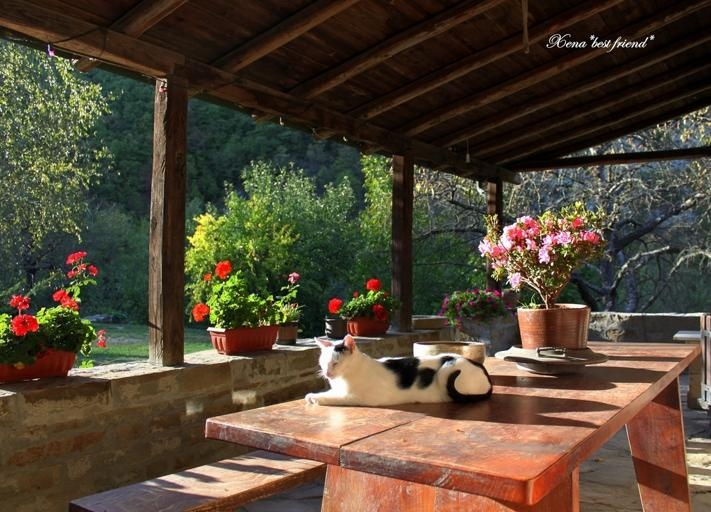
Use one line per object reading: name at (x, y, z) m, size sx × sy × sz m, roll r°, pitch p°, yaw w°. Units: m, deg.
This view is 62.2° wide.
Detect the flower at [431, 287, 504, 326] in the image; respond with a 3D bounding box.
flower at (1.705, 0.680, 8.351) m, size 0.592 × 0.406 × 0.644 m, roll 1°, pitch -4°, yaw 16°

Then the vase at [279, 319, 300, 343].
vase at (-0.658, 0.738, 5.760) m, size 0.177 × 0.135 × 0.182 m, roll 0°, pitch -11°, yaw 2°

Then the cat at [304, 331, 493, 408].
cat at (0.189, 0.548, 2.663) m, size 0.734 × 0.316 × 0.367 m, roll -1°, pitch -17°, yaw -1°

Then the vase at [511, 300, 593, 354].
vase at (1.038, 0.361, 3.057) m, size 0.263 × 0.172 × 0.272 m, roll 2°, pitch -2°, yaw -18°

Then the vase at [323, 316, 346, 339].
vase at (-0.201, 0.740, 6.204) m, size 0.176 × 0.163 × 0.229 m, roll -1°, pitch -15°, yaw 5°

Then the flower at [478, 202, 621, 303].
flower at (1.021, -0.014, 3.218) m, size 0.644 × 0.551 × 0.319 m, roll -3°, pitch 0°, yaw 20°
